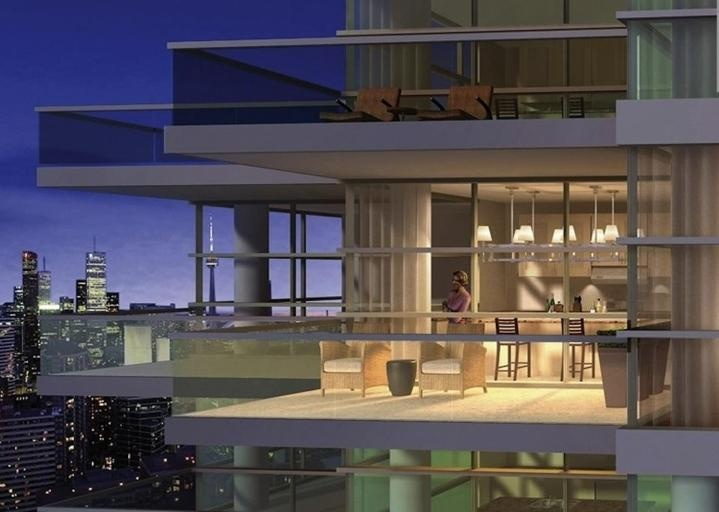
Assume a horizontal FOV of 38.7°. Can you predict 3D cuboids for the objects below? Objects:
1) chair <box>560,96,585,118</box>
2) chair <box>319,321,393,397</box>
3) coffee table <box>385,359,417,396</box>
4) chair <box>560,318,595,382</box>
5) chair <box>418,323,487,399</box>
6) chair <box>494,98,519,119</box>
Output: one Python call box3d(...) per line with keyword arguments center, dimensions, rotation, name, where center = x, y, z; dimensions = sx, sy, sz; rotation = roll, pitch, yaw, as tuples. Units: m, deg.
box3d(center=(3.497, -2.450, 16.807), dimensions=(0.394, 0.385, 0.240), rotation=(-3, -3, 12), name="chair")
box3d(center=(0.018, 1.549, 15.340), dimensions=(0.763, 1.024, 0.932), rotation=(-3, -9, 22), name="chair")
box3d(center=(0.613, 1.782, 15.011), dimensions=(0.475, 0.567, 0.488), rotation=(0, -5, -2), name="coffee table")
box3d(center=(3.679, 1.563, 17.326), dimensions=(0.585, 1.013, 2.835), rotation=(-3, -3, 12), name="chair")
box3d(center=(1.391, 1.578, 15.160), dimensions=(0.825, 1.226, 0.970), rotation=(-2, -5, 27), name="chair")
box3d(center=(2.420, -2.453, 16.855), dimensions=(0.400, 0.413, 0.468), rotation=(-3, -3, 9), name="chair")
